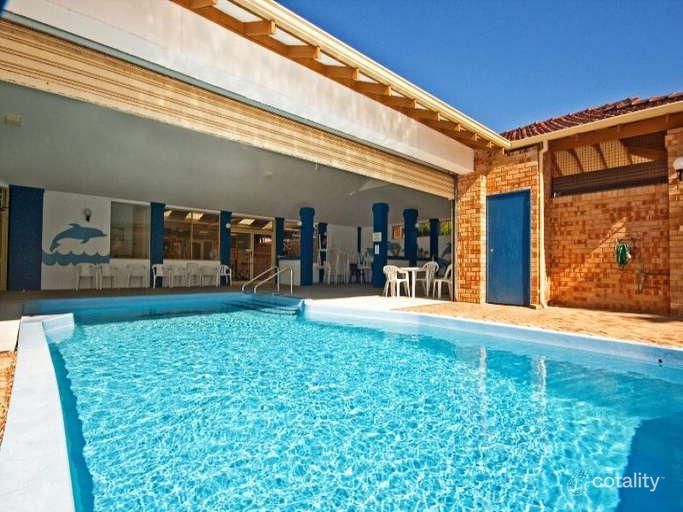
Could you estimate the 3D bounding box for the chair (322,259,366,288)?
[{"bbox_3d":[0.009,0.694,17.728,0.878,0.639,1.274,-1,-1,33],"label":"chair"}]
